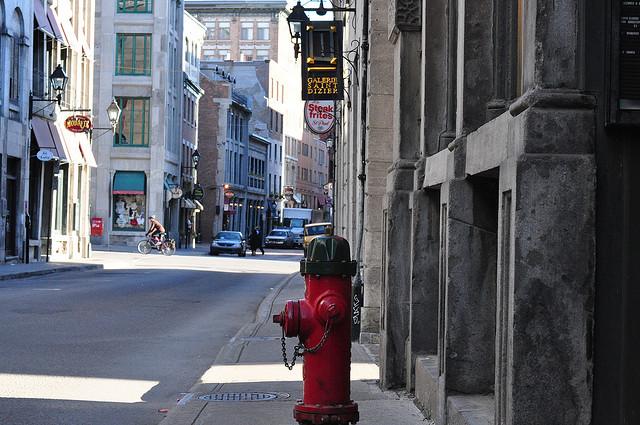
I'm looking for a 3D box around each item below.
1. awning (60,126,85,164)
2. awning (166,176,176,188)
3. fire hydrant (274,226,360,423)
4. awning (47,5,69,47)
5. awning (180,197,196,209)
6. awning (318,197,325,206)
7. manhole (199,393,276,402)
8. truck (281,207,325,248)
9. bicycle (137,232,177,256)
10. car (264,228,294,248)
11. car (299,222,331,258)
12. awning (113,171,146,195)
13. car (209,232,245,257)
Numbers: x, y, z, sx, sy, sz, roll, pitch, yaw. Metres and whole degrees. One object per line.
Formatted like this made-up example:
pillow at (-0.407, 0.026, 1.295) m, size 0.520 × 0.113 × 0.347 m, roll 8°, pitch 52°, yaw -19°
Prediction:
awning at (-9.228, -2.489, 41.849) m, size 0.728 × 1.308 × 2.428 m, roll 0°, pitch -2°, yaw -8°
awning at (-7.975, -1.642, 60.382) m, size 0.400 × 0.679 × 1.771 m, roll 0°, pitch -2°, yaw -3°
fire hydrant at (0.023, 1.121, 11.206) m, size 0.715 × 1.916 × 0.287 m, roll 0°, pitch -1°, yaw 1°
awning at (-9.375, -6.592, 39.957) m, size 0.241 × 0.978 × 1.070 m, roll -14°, pitch -16°, yaw 16°
awning at (-7.633, -0.556, 64.949) m, size 0.737 × 0.721 × 0.204 m, roll 1°, pitch -2°, yaw 6°
awning at (0.253, -1.269, 121.501) m, size 0.191 × 0.795 × 0.843 m, roll -3°, pitch -6°, yaw -13°
manhole at (-0.981, 2.213, 13.551) m, size 0.884 × 0.047 × 0.457 m, roll 0°, pitch -3°, yaw -4°
truck at (-1.231, 0.582, 83.075) m, size 2.498 × 2.624 × 4.470 m, roll 0°, pitch -4°, yaw -4°
bicycle at (-7.261, 1.369, 49.837) m, size 1.758 × 1.152 × 0.896 m, roll 2°, pitch -4°, yaw -1°
car at (-2.407, 1.597, 69.460) m, size 1.076 × 0.831 × 2.413 m, roll 0°, pitch -4°, yaw 5°
car at (-0.139, 0.955, 50.615) m, size 1.409 × 1.235 × 2.431 m, roll -4°, pitch 15°, yaw -1°
awning at (-9.804, -1.487, 57.931) m, size 1.578 × 1.292 × 1.179 m, roll 0°, pitch -3°, yaw -4°
car at (-4.307, 1.487, 52.363) m, size 1.453 × 1.021 × 1.981 m, roll -1°, pitch -2°, yaw 6°
